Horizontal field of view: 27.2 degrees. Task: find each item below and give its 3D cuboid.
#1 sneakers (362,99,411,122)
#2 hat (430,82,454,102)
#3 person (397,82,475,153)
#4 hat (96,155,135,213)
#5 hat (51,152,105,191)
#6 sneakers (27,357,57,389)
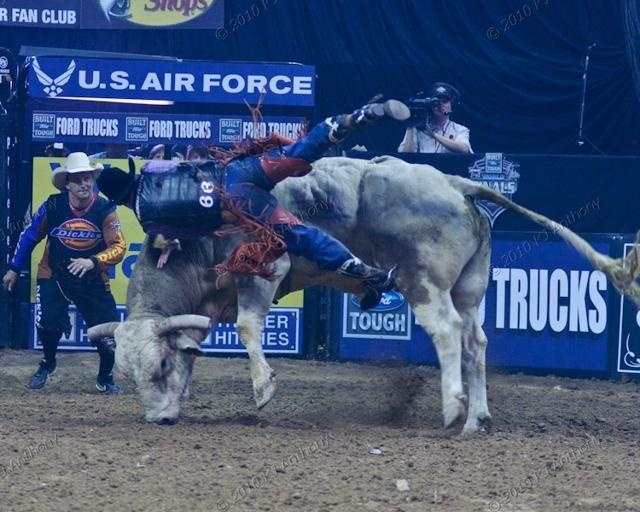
[{"bbox_3d":[0.688,-1.540,14.018,0.217,0.171,0.478,26,-12,-40],"label":"sneakers"},{"bbox_3d":[1.628,-2.223,18.108,0.294,0.222,0.584,12,17,33],"label":"hat"},{"bbox_3d":[1.598,-1.670,18.333,0.958,1.303,0.787,3,-2,15],"label":"person"},{"bbox_3d":[-2.175,-0.764,14.164,0.413,0.535,0.253,-1,15,-11],"label":"hat"},{"bbox_3d":[-2.969,-1.113,16.123,0.566,0.249,0.627,-10,1,6],"label":"hat"},{"bbox_3d":[-3.407,1.457,16.289,0.183,0.245,0.543,29,46,1],"label":"sneakers"}]
